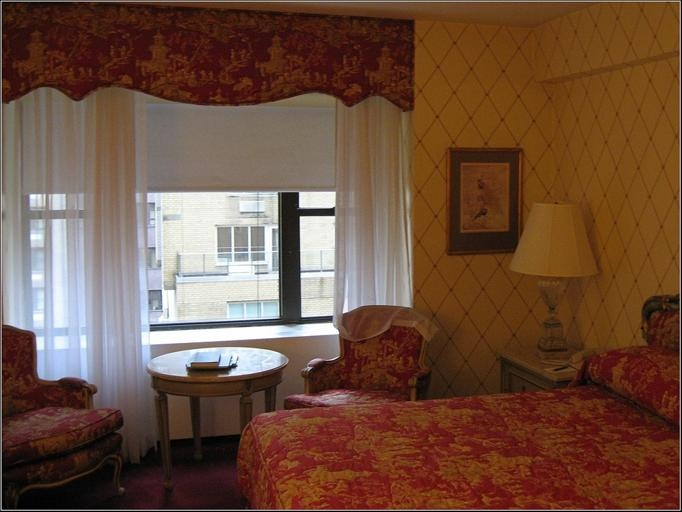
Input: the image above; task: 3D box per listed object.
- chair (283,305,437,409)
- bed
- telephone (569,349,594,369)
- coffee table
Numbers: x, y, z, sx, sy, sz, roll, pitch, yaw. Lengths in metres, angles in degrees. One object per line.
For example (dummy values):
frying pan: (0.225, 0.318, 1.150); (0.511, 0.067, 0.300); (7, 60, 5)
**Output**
chair: (0.158, 0.678, 4.017); (0.798, 0.836, 0.768); (0, -5, 20)
bed: (0.733, 0.541, 2.938); (1.881, 0.806, 1.189); (-1, 2, -2)
telephone: (1.638, 0.691, 3.936); (0.148, 0.047, 0.108); (-18, 13, -26)
coffee table: (-1.077, 1.121, 3.882); (0.826, 0.682, 0.803); (-14, -11, 42)
